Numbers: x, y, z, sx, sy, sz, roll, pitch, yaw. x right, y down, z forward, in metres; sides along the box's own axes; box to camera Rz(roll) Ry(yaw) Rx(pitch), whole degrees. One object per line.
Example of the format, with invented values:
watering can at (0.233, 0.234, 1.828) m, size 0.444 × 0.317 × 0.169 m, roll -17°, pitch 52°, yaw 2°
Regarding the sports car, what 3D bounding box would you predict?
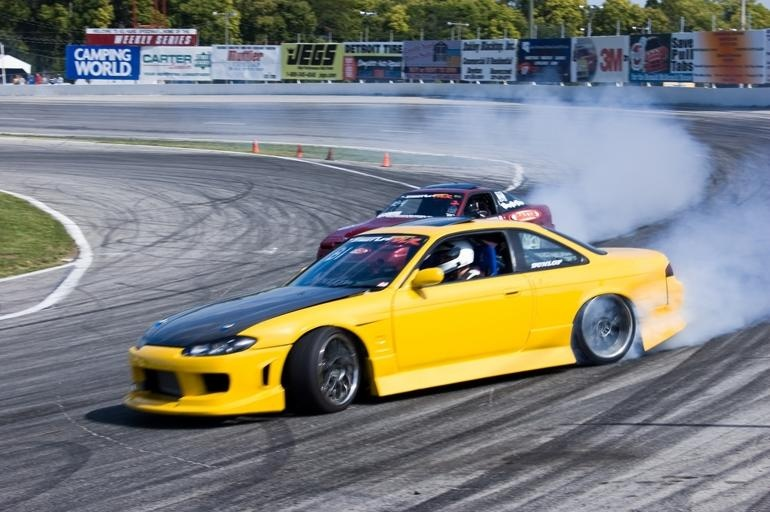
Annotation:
sports car at (0.283, 0.539, 7.491) m, size 5.418 × 0.813 × 1.888 m, roll -7°, pitch 15°, yaw -23°
